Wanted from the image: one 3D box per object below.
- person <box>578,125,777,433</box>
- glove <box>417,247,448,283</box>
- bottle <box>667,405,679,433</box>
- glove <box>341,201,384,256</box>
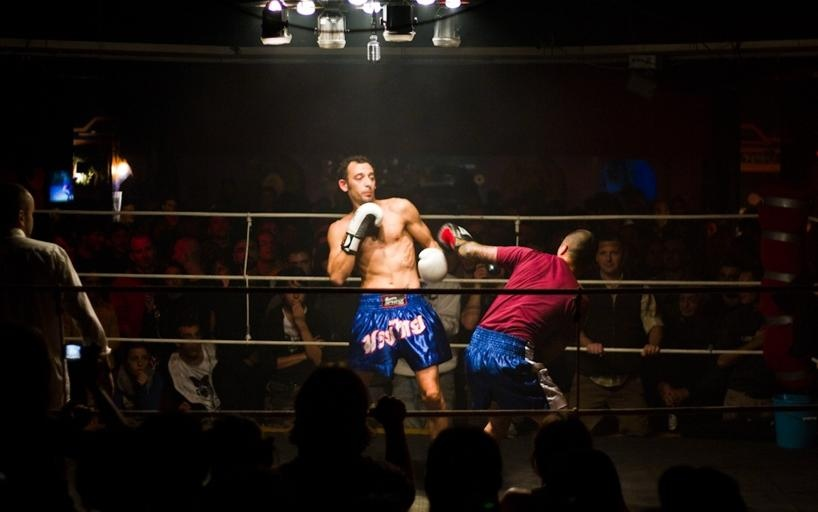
[{"bbox_3d":[2.505,0.780,8.861,1.626,2.004,0.827,1,-4,0],"label":"person"},{"bbox_3d":[0.244,0.101,8.267,0.301,0.255,0.279,-5,19,21],"label":"glove"},{"bbox_3d":[2.663,1.657,8.612,0.109,0.170,0.196,0,-4,15],"label":"bottle"},{"bbox_3d":[-0.440,-0.259,8.508,0.392,0.518,0.193,19,-2,5],"label":"glove"}]
